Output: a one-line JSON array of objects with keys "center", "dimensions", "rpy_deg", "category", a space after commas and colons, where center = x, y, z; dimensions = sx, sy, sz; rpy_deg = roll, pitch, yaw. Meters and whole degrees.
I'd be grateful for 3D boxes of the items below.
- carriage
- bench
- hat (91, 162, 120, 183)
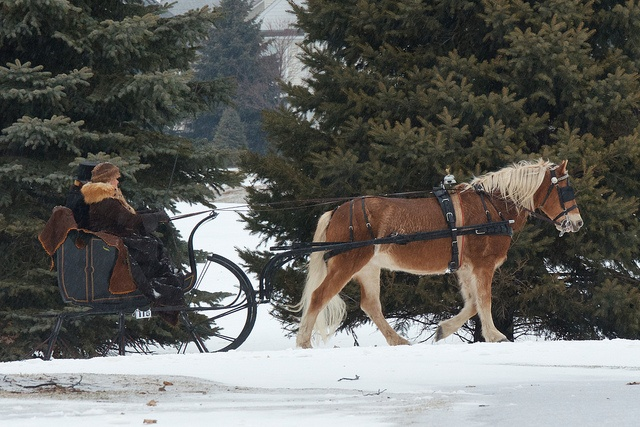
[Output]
[{"center": [-0.024, 0.848, 27.360], "dimensions": [10.070, 3.447, 2.090], "rpy_deg": [-4, -9, -12], "category": "carriage"}, {"center": [-3.738, 0.785, 27.150], "dimensions": [2.392, 1.822, 1.875], "rpy_deg": [1, -5, 29], "category": "bench"}, {"center": [-3.825, -0.723, 27.017], "dimensions": [0.419, 0.271, 0.360], "rpy_deg": [-2, 6, -31], "category": "hat"}]
